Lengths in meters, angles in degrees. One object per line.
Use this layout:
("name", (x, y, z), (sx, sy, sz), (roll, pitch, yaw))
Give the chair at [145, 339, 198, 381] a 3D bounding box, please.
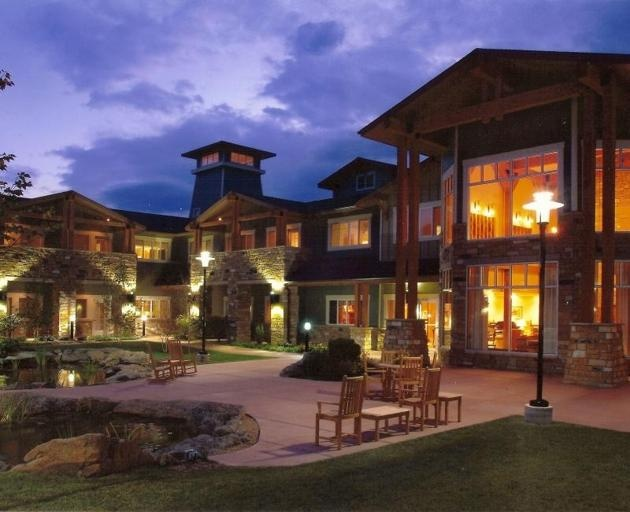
("chair", (-4.493, 3.260, 19.709), (1.457, 1.072, 3.003), (0, -2, -11))
